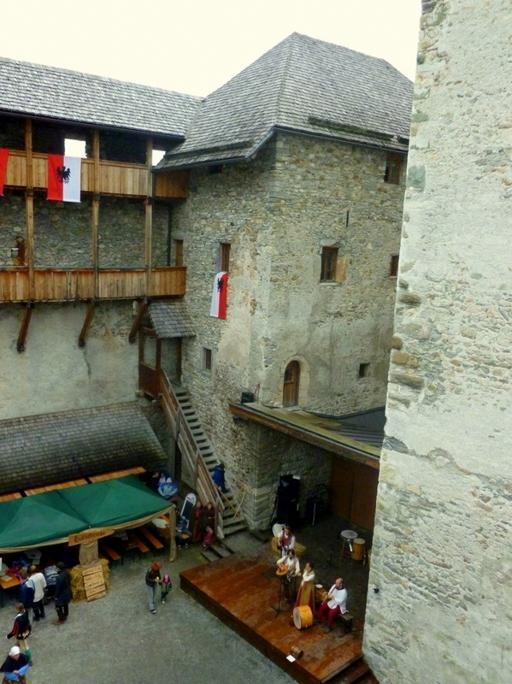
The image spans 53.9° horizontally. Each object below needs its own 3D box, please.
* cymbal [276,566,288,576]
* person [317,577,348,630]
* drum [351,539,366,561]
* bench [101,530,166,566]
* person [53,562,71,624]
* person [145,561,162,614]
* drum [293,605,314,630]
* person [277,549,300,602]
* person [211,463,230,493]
[{"bbox_3d":[0.476,4.165,9.155,0.178,0.224,0.238,-3,5,-3],"label":"cymbal"},{"bbox_3d":[1.314,4.427,8.756,0.378,0.920,0.638,-5,6,-31],"label":"person"},{"bbox_3d":[2.259,4.585,11.112,0.279,0.457,0.193,1,6,31],"label":"drum"},{"bbox_3d":[-2.736,4.599,11.159,1.135,0.274,1.203,-3,12,-36],"label":"bench"},{"bbox_3d":[-3.431,4.544,8.993,0.258,0.953,0.360,-5,5,-24],"label":"person"},{"bbox_3d":[-1.926,4.549,9.563,0.251,0.998,0.669,-4,5,-12],"label":"person"},{"bbox_3d":[0.805,4.695,8.549,0.243,0.326,0.349,5,-14,-26],"label":"drum"},{"bbox_3d":[0.601,4.309,9.363,0.391,0.968,0.682,-2,5,2],"label":"person"},{"bbox_3d":[-0.921,3.495,12.850,0.398,0.697,0.427,-5,5,-28],"label":"person"}]
